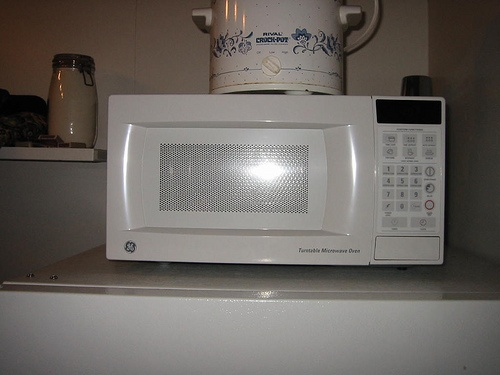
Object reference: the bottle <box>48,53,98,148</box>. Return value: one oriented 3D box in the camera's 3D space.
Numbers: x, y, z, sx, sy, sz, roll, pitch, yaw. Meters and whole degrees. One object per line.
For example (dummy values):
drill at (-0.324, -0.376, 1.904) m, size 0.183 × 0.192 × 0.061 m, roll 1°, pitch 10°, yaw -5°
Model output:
bottle at (-0.469, -0.226, 1.212) m, size 0.127 × 0.242 × 0.095 m, roll -6°, pitch 13°, yaw -25°
